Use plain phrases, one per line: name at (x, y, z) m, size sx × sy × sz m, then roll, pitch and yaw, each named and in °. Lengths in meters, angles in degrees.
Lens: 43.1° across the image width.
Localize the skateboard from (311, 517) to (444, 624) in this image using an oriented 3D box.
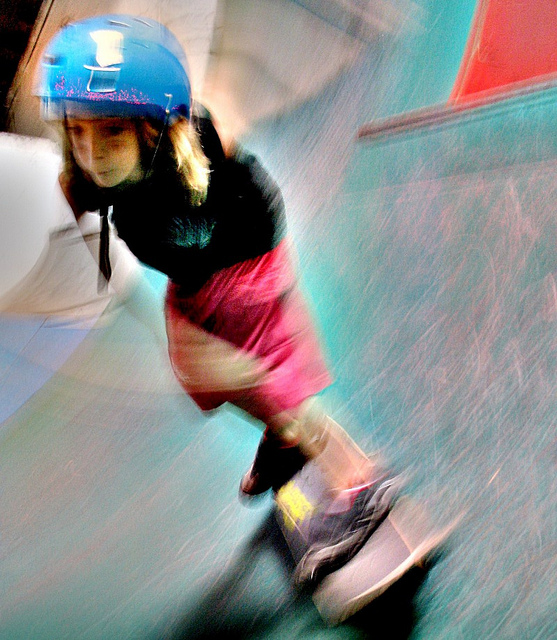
skateboard at (0.246, 0.640, 1.775) m, size 0.274 × 0.212 × 0.170 m, roll -2°, pitch 38°, yaw -31°

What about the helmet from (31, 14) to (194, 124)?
helmet at (-0.412, -0.624, 1.815) m, size 0.310 × 0.314 × 0.415 m, roll 22°, pitch 28°, yaw 36°

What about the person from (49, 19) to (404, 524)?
person at (-0.135, -0.133, 1.770) m, size 1.087 × 0.917 × 0.444 m, roll 24°, pitch 32°, yaw 6°
